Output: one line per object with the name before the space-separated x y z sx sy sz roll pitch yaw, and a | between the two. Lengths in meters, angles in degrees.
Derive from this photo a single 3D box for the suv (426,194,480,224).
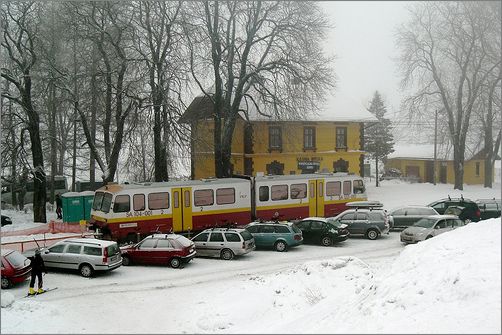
suv | 17.212 3.549 45.225 3.823 2.124 1.851 4 0 14

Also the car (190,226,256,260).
car | -1.899 5.452 39.189 3.954 1.635 2.218 2 2 20

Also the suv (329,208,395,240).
suv | 9.078 4.475 43.488 3.923 1.903 1.975 3 2 10

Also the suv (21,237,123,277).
suv | -12.006 6.030 36.264 6.018 2.145 2.654 5 0 11

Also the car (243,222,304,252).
car | 1.704 5.176 40.129 4.848 1.953 1.974 0 -1 17

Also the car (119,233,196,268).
car | -6.281 5.872 37.170 5.398 2.196 2.158 0 -1 11

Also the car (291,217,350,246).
car | 5.388 4.906 41.161 4.660 1.942 1.945 -1 -1 30

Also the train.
train | 0.168 2.771 45.954 25.189 6.007 7.029 1 -2 -26
